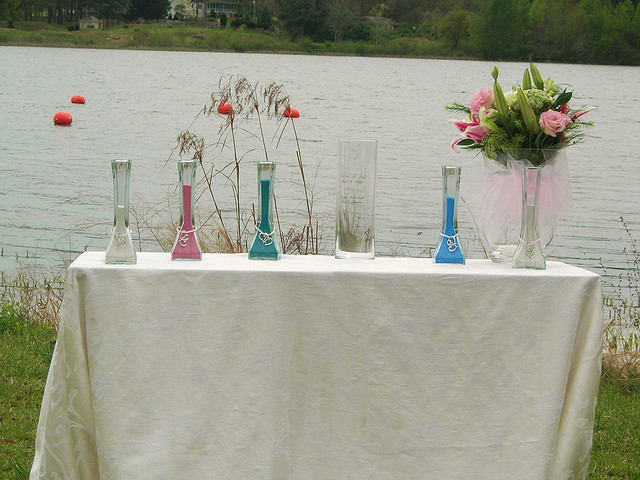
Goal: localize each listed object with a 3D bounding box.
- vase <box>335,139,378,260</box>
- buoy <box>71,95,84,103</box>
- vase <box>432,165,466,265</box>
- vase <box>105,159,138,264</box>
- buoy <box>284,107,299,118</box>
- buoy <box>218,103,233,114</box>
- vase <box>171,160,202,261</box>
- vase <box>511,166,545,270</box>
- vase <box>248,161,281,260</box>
[{"bbox_3d":[0.637,-0.758,29.231,0.720,2.064,0.567,1,14,0],"label":"vase"},{"bbox_3d":[-5.988,-3.515,40.480,0.274,0.118,0.456,-2,17,-9],"label":"buoy"},{"bbox_3d":[2.346,-0.417,29.320,0.601,1.748,0.750,2,2,16],"label":"vase"},{"bbox_3d":[-3.553,-0.525,29.069,0.575,1.747,0.598,-2,15,-8],"label":"vase"},{"bbox_3d":[-0.518,-2.496,31.982,0.214,0.140,0.291,3,4,-2],"label":"buoy"},{"bbox_3d":[-1.821,-2.540,31.019,0.360,0.219,0.135,11,18,30],"label":"buoy"},{"bbox_3d":[-2.389,-0.556,29.137,0.549,1.708,0.546,-1,14,-7],"label":"vase"},{"bbox_3d":[3.770,-0.401,29.328,0.603,1.824,0.670,3,6,20],"label":"vase"},{"bbox_3d":[-0.944,-0.562,29.206,0.573,1.676,0.657,4,15,13],"label":"vase"}]
